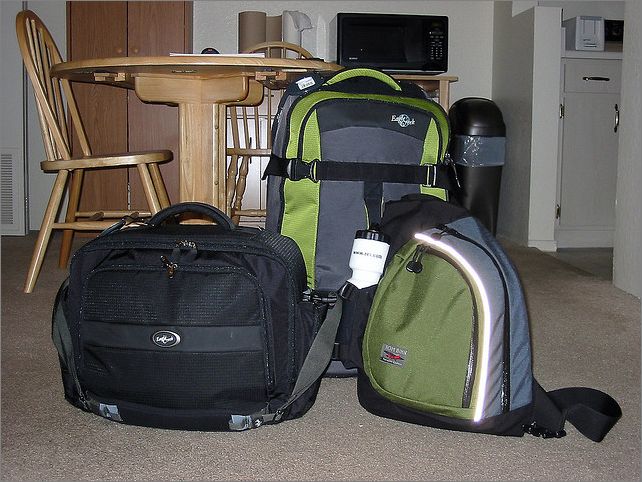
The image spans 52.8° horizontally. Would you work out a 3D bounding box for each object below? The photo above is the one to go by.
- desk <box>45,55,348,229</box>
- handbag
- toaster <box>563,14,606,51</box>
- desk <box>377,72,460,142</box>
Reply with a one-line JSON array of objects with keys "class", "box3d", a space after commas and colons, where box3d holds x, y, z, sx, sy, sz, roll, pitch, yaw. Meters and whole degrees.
[{"class": "desk", "box3d": [-0.466, -0.340, 2.224, 0.671, 0.516, 0.684, 0, 2, -28]}, {"class": "handbag", "box3d": [-0.284, 0.190, 1.558, 0.782, 0.602, 0.406, 1, 0, 4]}, {"class": "toaster", "box3d": [1.460, -1.130, 3.608, 0.198, 0.226, 0.160, 1, 10, 2]}, {"class": "desk", "box3d": [0.499, -0.707, 3.541, 0.449, 0.474, 0.469, 1, 9, 5]}]
